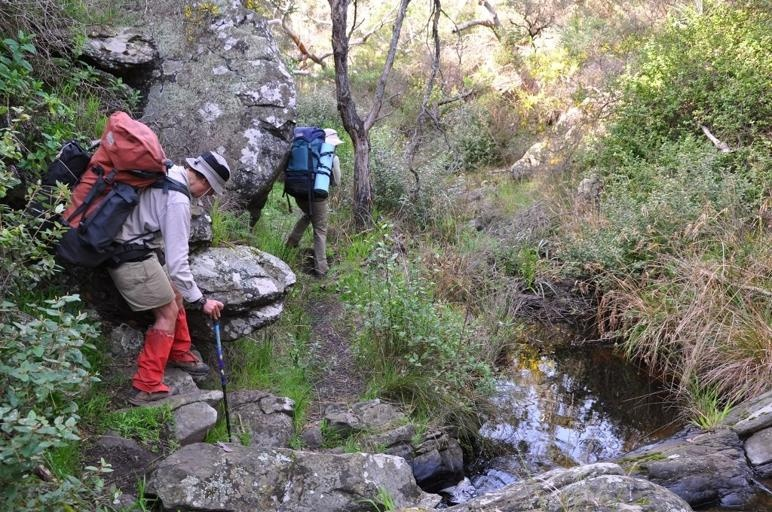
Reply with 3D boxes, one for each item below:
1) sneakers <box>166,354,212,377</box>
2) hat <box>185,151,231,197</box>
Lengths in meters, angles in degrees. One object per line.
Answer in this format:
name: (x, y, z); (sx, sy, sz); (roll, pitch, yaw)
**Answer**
sneakers: (-2.229, 1.254, 7.066); (0.419, 0.222, 0.205); (10, 23, -20)
hat: (-1.877, -0.949, 6.762); (0.292, 0.534, 0.389); (-38, 32, 3)
